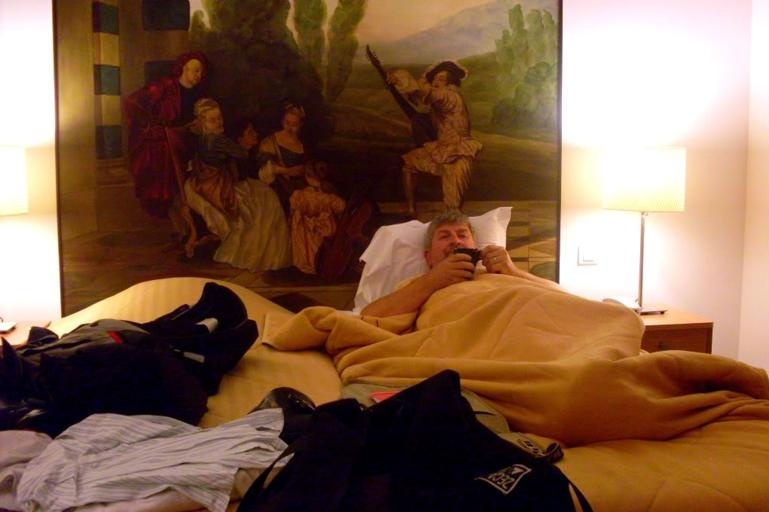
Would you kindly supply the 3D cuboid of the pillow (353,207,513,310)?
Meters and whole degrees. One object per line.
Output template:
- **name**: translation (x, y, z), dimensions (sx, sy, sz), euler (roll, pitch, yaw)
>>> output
- **pillow**: translation (0.288, -0.006, 3.209), dimensions (0.687, 0.609, 0.208), euler (-19, -38, 17)

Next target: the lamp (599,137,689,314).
- **lamp**: translation (1.512, -0.149, 3.381), dimensions (0.484, 0.949, 0.383), euler (1, 3, 21)
